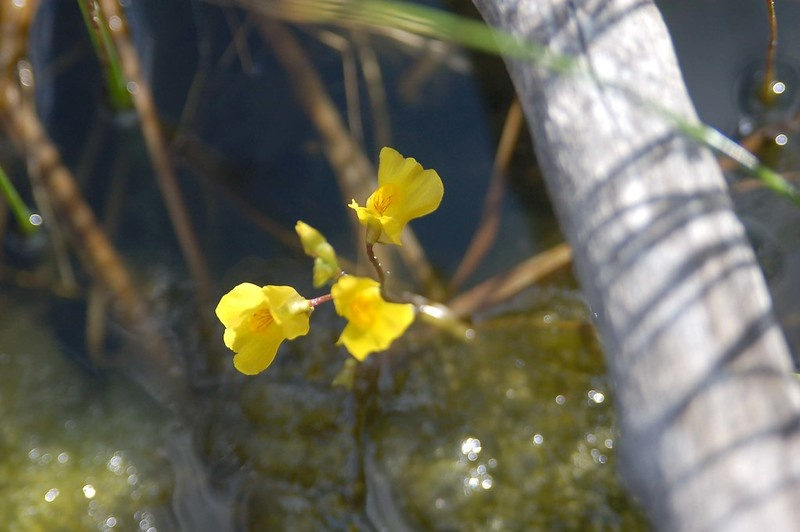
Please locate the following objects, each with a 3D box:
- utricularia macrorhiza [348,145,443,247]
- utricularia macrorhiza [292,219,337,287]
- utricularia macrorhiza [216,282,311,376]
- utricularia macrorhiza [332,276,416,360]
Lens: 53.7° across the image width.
[{"bbox_3d":[-0.014,-0.131,1.644,0.179,0.092,0.192,-39,95,-9],"label":"utricularia macrorhiza"},{"bbox_3d":[-0.167,-0.040,1.560,0.058,0.035,0.130,-18,50,-32],"label":"utricularia macrorhiza"},{"bbox_3d":[-0.262,0.111,1.551,0.168,0.086,0.190,-2,38,25],"label":"utricularia macrorhiza"},{"bbox_3d":[-0.067,0.080,1.555,0.153,0.073,0.150,8,6,33],"label":"utricularia macrorhiza"}]
